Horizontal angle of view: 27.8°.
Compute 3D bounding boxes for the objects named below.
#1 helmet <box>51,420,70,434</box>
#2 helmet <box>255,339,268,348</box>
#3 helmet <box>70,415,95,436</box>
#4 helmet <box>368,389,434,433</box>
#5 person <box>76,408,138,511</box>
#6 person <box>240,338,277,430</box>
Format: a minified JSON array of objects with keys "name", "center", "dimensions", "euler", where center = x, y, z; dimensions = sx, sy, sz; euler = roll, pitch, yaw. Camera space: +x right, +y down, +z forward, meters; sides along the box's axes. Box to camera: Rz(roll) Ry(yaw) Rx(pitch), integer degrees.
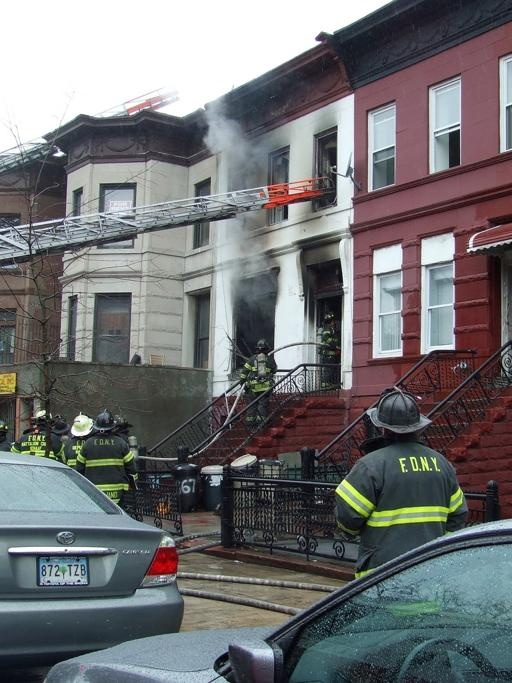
[{"name":"helmet","center":[-2.272,0.956,11.985],"dimensions":[0.186,0.201,0.218],"euler":[-3,-12,-7]},{"name":"helmet","center":[0.095,0.045,18.943],"dimensions":[0.209,0.090,0.274],"euler":[0,3,6]},{"name":"helmet","center":[-1.770,0.904,10.656],"dimensions":[0.213,0.118,0.270],"euler":[-10,35,0]},{"name":"helmet","center":[0.729,0.341,5.373],"dimensions":[0.307,0.151,0.383],"euler":[10,16,18]},{"name":"person","center":[-1.379,1.255,9.773],"dimensions":[0.594,1.123,0.403],"euler":[1,5,16]},{"name":"person","center":[0.027,0.715,17.555],"dimensions":[0.591,1.433,1.429],"euler":[0,-6,-1]}]
